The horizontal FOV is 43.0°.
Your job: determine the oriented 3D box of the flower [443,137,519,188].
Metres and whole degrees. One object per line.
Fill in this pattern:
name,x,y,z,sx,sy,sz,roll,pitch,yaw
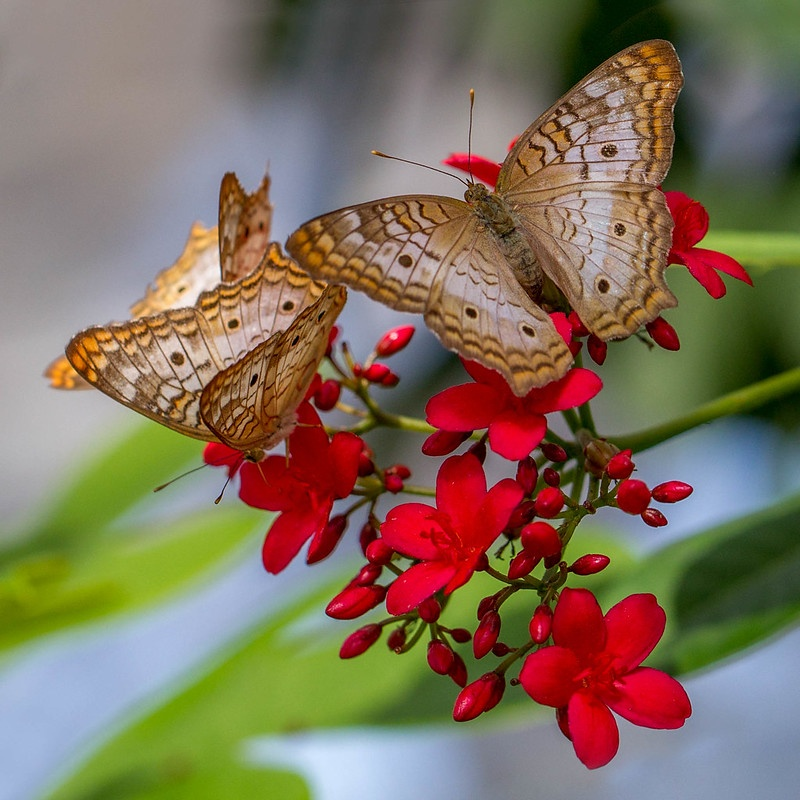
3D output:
flower,0.111,-0.351,1.505,0.093,0.076,0.052,-9,14,-21

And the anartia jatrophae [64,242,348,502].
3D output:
anartia jatrophae,-0.208,-0.051,1.340,0.364,0.345,0.422,-3,13,-24

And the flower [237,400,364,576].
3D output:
flower,-0.103,0.109,1.406,0.114,0.223,0.194,-14,15,-38

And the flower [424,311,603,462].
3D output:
flower,0.140,0.009,1.279,0.219,0.087,0.145,-4,23,14

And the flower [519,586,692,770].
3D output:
flower,0.243,0.328,1.234,0.208,0.155,0.132,-18,23,-19

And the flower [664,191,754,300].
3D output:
flower,0.411,-0.213,1.410,0.135,0.150,0.084,14,45,37
